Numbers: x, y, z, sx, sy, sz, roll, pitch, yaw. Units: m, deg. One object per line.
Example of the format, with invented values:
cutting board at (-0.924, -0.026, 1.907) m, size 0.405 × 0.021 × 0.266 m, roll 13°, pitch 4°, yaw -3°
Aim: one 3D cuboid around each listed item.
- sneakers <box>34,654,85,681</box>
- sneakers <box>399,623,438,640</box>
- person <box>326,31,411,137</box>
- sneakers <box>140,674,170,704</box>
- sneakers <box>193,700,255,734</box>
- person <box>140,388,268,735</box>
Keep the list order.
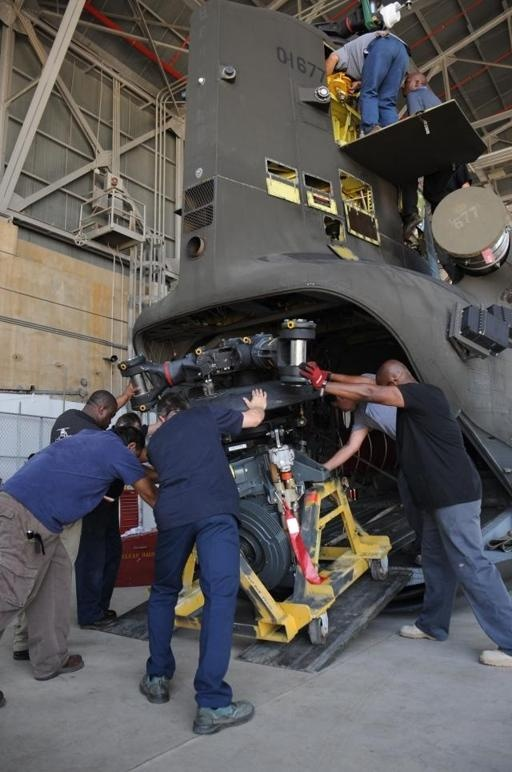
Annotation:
sneakers at (-1.067, 1.501, 3.199) m, size 0.083 × 0.097 × 0.229 m, roll 4°, pitch 7°, yaw 25°
sneakers at (1.007, 1.540, 3.682) m, size 0.205 × 0.085 × 0.076 m, roll 13°, pitch 10°, yaw 33°
person at (0.990, -2.695, 5.531) m, size 0.475 × 0.949 × 0.793 m, roll 3°, pitch -5°, yaw -34°
sneakers at (-0.472, 1.410, 2.800) m, size 0.126 × 0.103 × 0.179 m, roll 1°, pitch -10°, yaw -18°
sneakers at (-0.135, 1.326, 2.437) m, size 0.250 × 0.113 × 0.098 m, roll -3°, pitch 4°, yaw -42°
person at (-0.277, 0.744, 2.730) m, size 0.431 × 1.370 × 0.608 m, roll 0°, pitch -10°, yaw -11°
